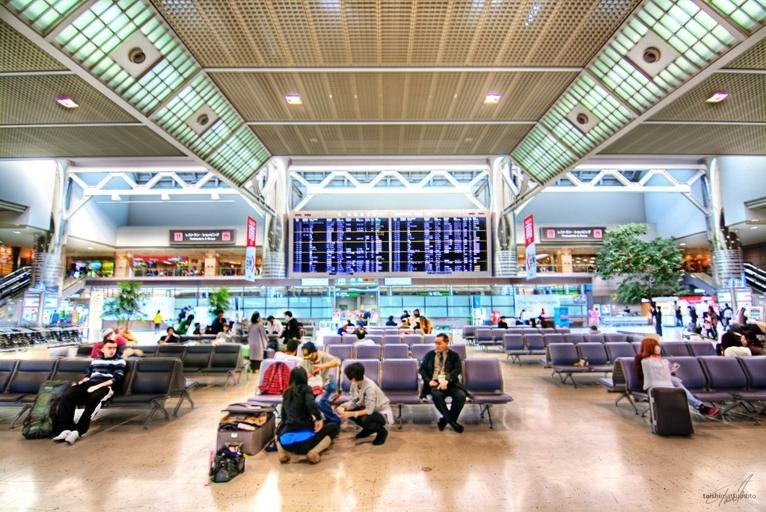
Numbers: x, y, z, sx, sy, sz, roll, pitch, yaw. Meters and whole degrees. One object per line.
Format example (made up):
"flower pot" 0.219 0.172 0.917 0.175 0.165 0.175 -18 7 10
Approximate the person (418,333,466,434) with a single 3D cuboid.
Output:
"person" 1.134 2.348 8.305 0.898 1.713 1.099 1 5 6

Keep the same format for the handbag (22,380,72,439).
"handbag" -6.028 2.746 7.889 0.721 0.780 0.761 -4 7 -36

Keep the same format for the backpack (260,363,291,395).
"backpack" -2.061 2.325 8.445 0.726 0.625 0.198 4 -7 10

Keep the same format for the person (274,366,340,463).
"person" -1.237 2.514 7.024 0.948 1.430 0.543 -1 6 -12

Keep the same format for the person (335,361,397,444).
"person" -0.306 2.542 7.724 0.936 1.377 0.815 2 6 19

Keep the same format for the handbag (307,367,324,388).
"handbag" -1.228 2.212 8.033 0.410 0.455 0.263 -1 -24 -7

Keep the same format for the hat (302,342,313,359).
"hat" -1.372 1.723 8.078 0.235 0.249 0.283 4 -7 -17

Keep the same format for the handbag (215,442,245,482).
"handbag" -2.286 3.067 6.536 0.347 0.413 0.482 -12 -13 35

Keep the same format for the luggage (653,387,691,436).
"luggage" 5.069 2.712 7.700 0.650 0.784 0.296 0 6 4
